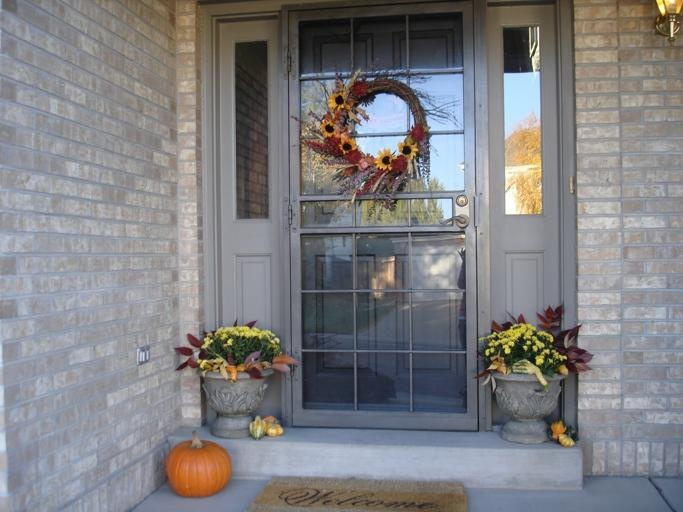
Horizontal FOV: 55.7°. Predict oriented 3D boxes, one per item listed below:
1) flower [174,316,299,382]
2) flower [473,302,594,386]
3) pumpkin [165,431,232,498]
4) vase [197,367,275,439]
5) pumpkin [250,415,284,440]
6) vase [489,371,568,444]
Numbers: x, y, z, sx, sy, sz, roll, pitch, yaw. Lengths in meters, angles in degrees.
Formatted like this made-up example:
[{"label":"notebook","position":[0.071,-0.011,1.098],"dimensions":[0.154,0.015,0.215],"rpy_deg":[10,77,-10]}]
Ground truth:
[{"label":"flower","position":[-0.678,0.609,4.149],"dimensions":[0.784,0.366,0.460],"rpy_deg":[0,0,-5]},{"label":"flower","position":[1.202,0.670,3.987],"dimensions":[0.682,0.376,0.621],"rpy_deg":[-7,3,2]},{"label":"pumpkin","position":[-0.824,1.231,3.759],"dimensions":[0.371,0.331,0.366],"rpy_deg":[1,-7,-8]},{"label":"vase","position":[-0.662,0.961,4.195],"dimensions":[0.509,0.376,0.502],"rpy_deg":[2,-9,-10]},{"label":"pumpkin","position":[-0.468,1.089,4.103],"dimensions":[0.126,0.082,0.166],"rpy_deg":[1,-4,12]},{"label":"vase","position":[1.141,0.925,4.049],"dimensions":[0.468,0.373,0.477],"rpy_deg":[2,-8,5]}]
